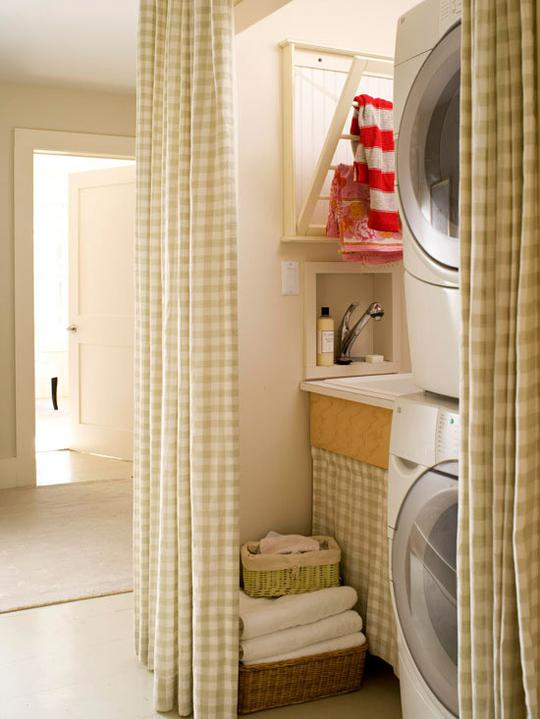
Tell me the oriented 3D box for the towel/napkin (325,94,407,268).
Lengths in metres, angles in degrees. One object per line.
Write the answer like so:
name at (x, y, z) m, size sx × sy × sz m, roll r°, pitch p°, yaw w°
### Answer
towel/napkin at (0.320, -0.586, 2.124) m, size 0.283 × 0.529 × 0.136 m, roll 0°, pitch 0°, yaw -29°

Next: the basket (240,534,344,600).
basket at (0.060, 0.601, 1.972) m, size 0.205 × 0.131 × 0.188 m, roll -2°, pitch -2°, yaw -15°

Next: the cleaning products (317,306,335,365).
cleaning products at (0.212, -0.088, 2.394) m, size 0.067 × 0.218 × 0.193 m, roll 0°, pitch 4°, yaw 6°

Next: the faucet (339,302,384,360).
faucet at (0.331, -0.096, 2.422) m, size 0.138 × 0.227 × 0.214 m, roll -1°, pitch 4°, yaw -9°
